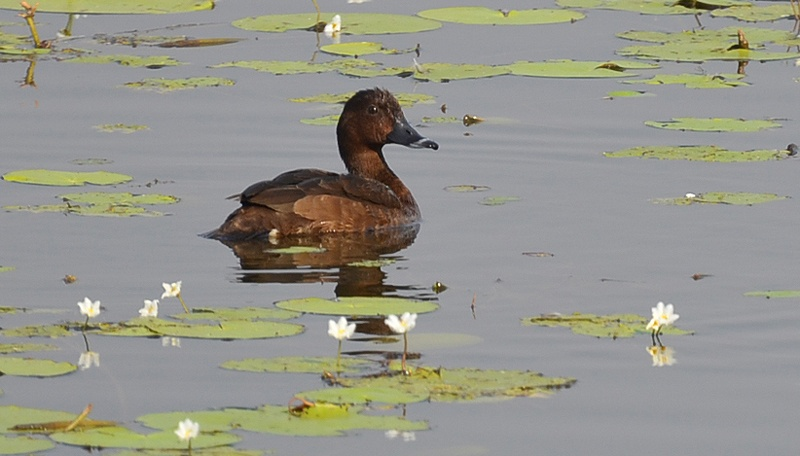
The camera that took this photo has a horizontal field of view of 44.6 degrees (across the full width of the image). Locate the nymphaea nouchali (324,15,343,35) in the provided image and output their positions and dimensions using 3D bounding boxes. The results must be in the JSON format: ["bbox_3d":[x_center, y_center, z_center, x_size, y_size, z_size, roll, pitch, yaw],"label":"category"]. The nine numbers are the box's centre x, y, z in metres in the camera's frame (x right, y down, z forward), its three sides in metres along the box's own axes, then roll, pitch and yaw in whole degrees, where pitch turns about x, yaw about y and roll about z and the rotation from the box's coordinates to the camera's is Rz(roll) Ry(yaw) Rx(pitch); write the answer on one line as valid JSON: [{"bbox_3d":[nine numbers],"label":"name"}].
[{"bbox_3d":[-1.530,-4.829,23.234,0.604,0.221,0.650,1,-12,-12],"label":"nymphaea nouchali"}]

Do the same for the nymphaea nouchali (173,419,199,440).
[{"bbox_3d":[-2.283,2.154,10.536,0.269,0.281,0.414,-1,9,-10],"label":"nymphaea nouchali"}]

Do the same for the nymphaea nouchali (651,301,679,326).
[{"bbox_3d":[3.346,1.105,12.473,0.513,0.316,0.200,-3,-6,-5],"label":"nymphaea nouchali"}]

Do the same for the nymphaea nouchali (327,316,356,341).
[{"bbox_3d":[-0.681,1.209,11.565,0.284,0.316,0.303,0,10,-7],"label":"nymphaea nouchali"}]
